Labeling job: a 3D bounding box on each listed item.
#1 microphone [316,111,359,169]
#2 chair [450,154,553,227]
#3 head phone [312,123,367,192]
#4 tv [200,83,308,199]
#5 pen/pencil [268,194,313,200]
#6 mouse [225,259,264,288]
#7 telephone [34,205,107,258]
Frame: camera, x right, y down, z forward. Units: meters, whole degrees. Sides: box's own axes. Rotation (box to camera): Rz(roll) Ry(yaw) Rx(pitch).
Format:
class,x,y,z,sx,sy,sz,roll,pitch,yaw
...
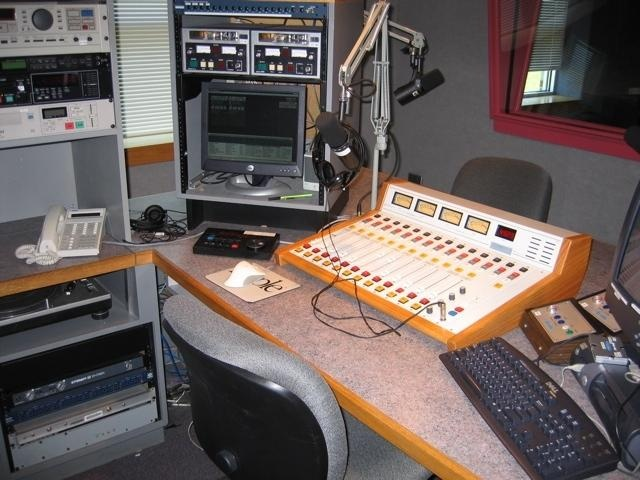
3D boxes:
class,x,y,z,sx,sy,sz,roll,pitch,yaw
microphone,0.069,-0.369,1.810,0.090,0.220,0.188,22,28,36
chair,0.948,-0.309,2.575,0.420,0.466,0.449,16,36,30
head phone,0.068,-0.332,1.952,0.221,0.246,0.083,-17,26,29
tv,-0.265,-0.509,2.318,0.624,0.494,0.309,11,23,28
pen/pencil,-0.142,-0.199,2.204,0.172,0.020,0.015,-4,52,-14
mouse,-0.282,0.129,1.782,0.090,0.039,0.129,26,37,32
telephone,-1.058,-0.048,2.059,0.272,0.095,0.258,1,43,-3
